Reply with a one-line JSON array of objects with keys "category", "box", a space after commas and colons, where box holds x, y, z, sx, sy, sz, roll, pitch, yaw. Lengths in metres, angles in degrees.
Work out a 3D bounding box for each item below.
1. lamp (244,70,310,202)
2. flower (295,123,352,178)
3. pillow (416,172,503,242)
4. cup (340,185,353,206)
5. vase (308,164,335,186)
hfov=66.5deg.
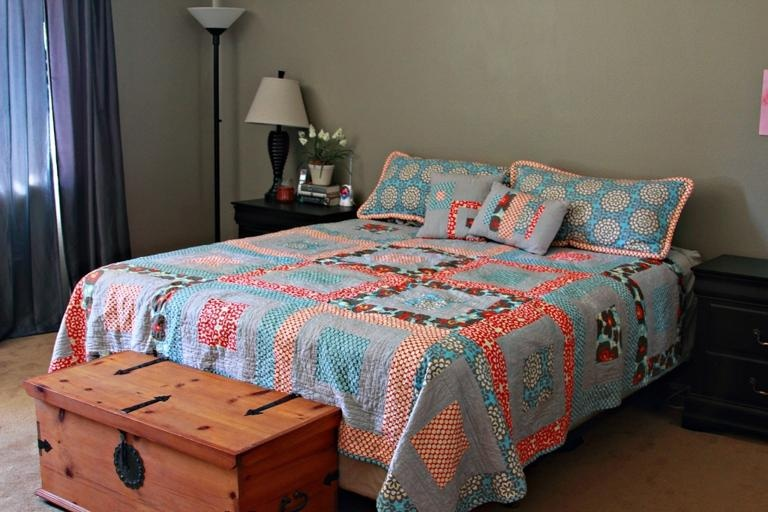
[{"category": "lamp", "box": [-0.805, -0.973, 4.725, 0.403, 0.993, 0.472, 14, 19, 27]}, {"category": "flower", "box": [-0.476, -0.868, 4.804, 0.462, 0.388, 0.465, 2, 13, 9]}, {"category": "pillow", "box": [0.442, -0.326, 3.690, 0.459, 0.440, 0.130, 8, -15, 39]}, {"category": "cup", "box": [-0.286, -0.467, 4.549, 0.106, 0.174, 0.128, -9, 17, -36]}, {"category": "vase", "box": [-0.489, -0.646, 4.673, 0.178, 0.126, 0.181, 8, 10, 42]}]
